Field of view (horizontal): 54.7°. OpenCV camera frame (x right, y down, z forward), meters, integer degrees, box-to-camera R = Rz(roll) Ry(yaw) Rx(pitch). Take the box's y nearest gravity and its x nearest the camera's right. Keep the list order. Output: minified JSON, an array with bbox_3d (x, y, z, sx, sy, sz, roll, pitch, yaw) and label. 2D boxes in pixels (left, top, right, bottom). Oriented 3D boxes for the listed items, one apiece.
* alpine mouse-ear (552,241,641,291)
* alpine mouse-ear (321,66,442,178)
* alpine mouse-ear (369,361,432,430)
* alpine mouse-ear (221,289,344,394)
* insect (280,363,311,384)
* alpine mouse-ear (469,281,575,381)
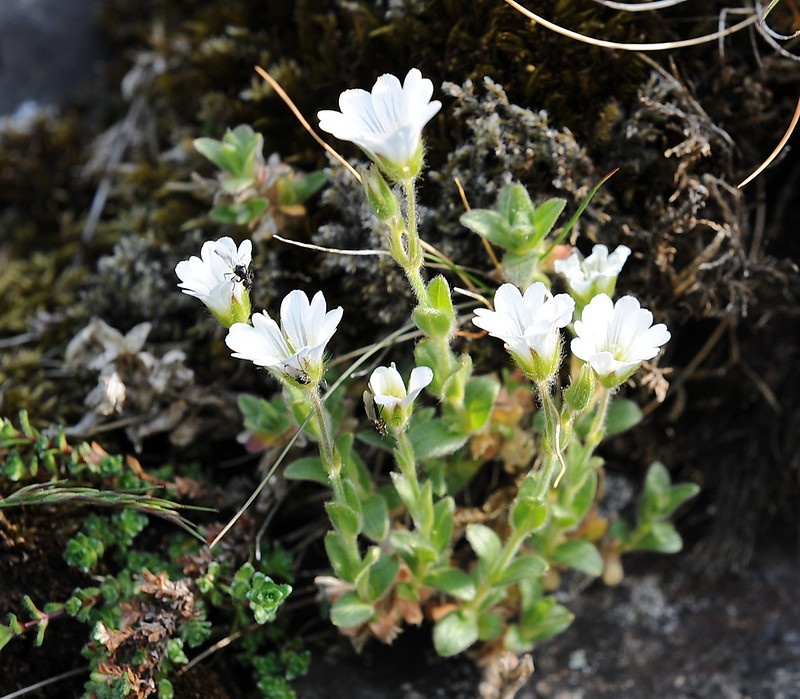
[{"bbox_3d":[0.531,-0.236,2.193,0.156,0.083,0.166,-17,26,0],"label":"alpine mouse-ear"},{"bbox_3d":[-0.044,-0.536,1.967,0.280,0.156,0.286,6,45,39],"label":"alpine mouse-ear"},{"bbox_3d":[-0.010,0.121,1.959,0.150,0.196,0.106,-30,58,-23],"label":"alpine mouse-ear"},{"bbox_3d":[-0.255,0.005,2.000,0.240,0.277,0.128,-17,61,-32],"label":"alpine mouse-ear"},{"bbox_3d":[-0.256,0.063,1.914,0.062,0.043,0.016,28,30,-27],"label":"insect"},{"bbox_3d":[0.337,-0.022,1.943,0.171,0.196,0.210,-14,11,4],"label":"alpine mouse-ear"}]
